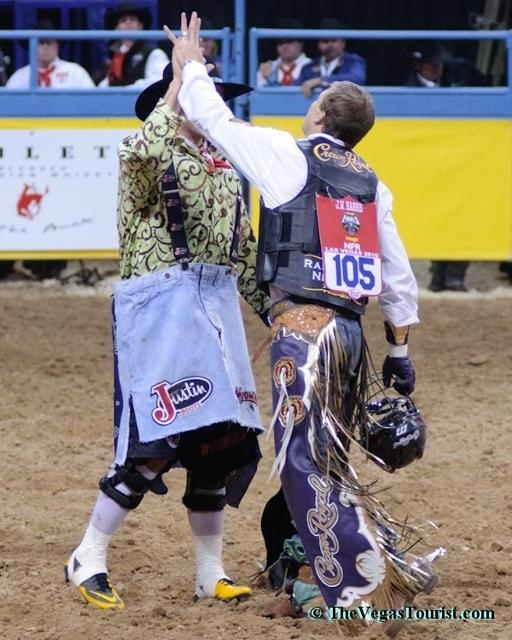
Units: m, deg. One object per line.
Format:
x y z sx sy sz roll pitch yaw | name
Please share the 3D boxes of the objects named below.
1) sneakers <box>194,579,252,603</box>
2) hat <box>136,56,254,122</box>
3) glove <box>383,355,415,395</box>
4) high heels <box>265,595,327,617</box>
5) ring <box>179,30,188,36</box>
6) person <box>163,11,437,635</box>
-0.142 1.117 5.619 0.214 0.087 0.087 -8 -7 18 | sneakers
-0.282 -0.940 5.581 0.437 0.171 0.252 -29 -13 13 | hat
0.589 0.218 5.657 0.122 0.169 0.167 6 8 3 | glove
0.143 1.171 5.484 0.279 0.110 0.094 -1 -16 22 | high heels
-0.297 -1.162 5.448 0.027 0.028 0.027 1 -14 0 | ring
0.286 0.052 5.377 0.682 2.041 1.182 -10 18 -42 | person
